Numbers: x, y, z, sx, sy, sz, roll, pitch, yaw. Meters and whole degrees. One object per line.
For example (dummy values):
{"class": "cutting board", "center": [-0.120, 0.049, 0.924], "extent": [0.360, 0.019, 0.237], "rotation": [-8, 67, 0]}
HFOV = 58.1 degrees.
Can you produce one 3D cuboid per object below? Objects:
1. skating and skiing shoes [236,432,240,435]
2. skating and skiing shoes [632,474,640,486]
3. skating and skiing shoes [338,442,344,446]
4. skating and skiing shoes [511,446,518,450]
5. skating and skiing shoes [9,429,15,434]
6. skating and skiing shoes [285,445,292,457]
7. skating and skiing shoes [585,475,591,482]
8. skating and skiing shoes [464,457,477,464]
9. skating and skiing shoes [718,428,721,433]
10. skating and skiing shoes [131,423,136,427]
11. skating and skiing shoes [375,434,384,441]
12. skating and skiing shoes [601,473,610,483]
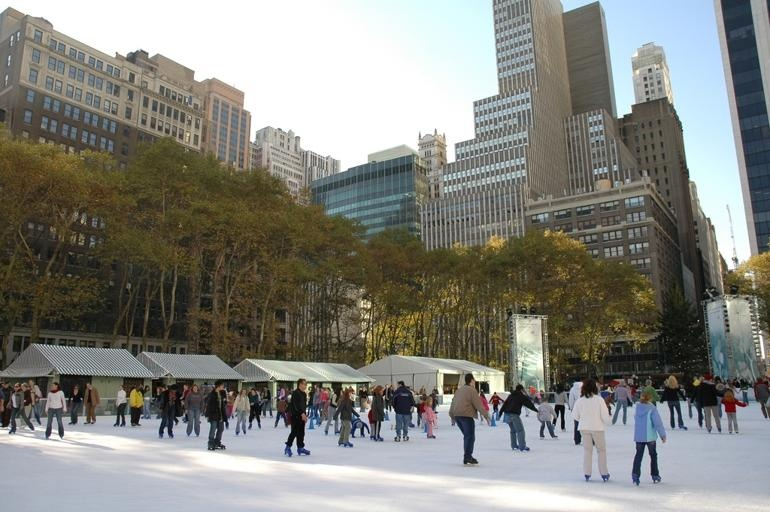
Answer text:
{"class": "skating and skiing shoes", "center": [-7.385, 8.922, 34.827], "extent": [0.105, 0.142, 0.144], "rotation": [5, 2, 3]}
{"class": "skating and skiing shoes", "center": [8.652, 7.789, 24.078], "extent": [0.227, 0.318, 0.216], "rotation": [-6, -1, 21]}
{"class": "skating and skiing shoes", "center": [-1.988, 8.424, 31.084], "extent": [0.238, 0.139, 0.312], "rotation": [-1, -17, -3]}
{"class": "skating and skiing shoes", "center": [5.464, 8.149, 29.334], "extent": [0.155, 0.145, 0.122], "rotation": [-12, -3, 0]}
{"class": "skating and skiing shoes", "center": [-18.115, 8.521, 33.775], "extent": [0.244, 0.248, 0.131], "rotation": [1, 0, 5]}
{"class": "skating and skiing shoes", "center": [-3.913, 7.911, 28.180], "extent": [0.246, 0.417, 0.251], "rotation": [1, -16, -9]}
{"class": "skating and skiing shoes", "center": [7.089, 7.844, 24.454], "extent": [0.203, 0.222, 0.208], "rotation": [0, -22, 2]}
{"class": "skating and skiing shoes", "center": [3.266, 7.880, 26.699], "extent": [0.445, 0.212, 0.204], "rotation": [-4, -8, 7]}
{"class": "skating and skiing shoes", "center": [15.831, 8.304, 33.021], "extent": [0.165, 0.225, 0.456], "rotation": [-9, -18, 24]}
{"class": "skating and skiing shoes", "center": [-14.199, 9.557, 39.222], "extent": [0.168, 0.074, 0.236], "rotation": [0, 17, -16]}
{"class": "skating and skiing shoes", "center": [-0.298, 8.860, 33.555], "extent": [0.172, 0.232, 0.559], "rotation": [10, -23, -38]}
{"class": "skating and skiing shoes", "center": [7.723, 7.823, 24.435], "extent": [0.247, 0.256, 0.250], "rotation": [1, -9, 20]}
